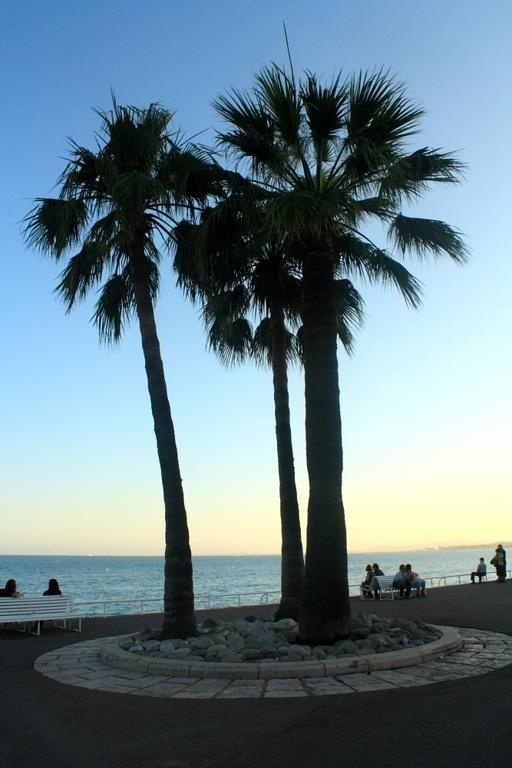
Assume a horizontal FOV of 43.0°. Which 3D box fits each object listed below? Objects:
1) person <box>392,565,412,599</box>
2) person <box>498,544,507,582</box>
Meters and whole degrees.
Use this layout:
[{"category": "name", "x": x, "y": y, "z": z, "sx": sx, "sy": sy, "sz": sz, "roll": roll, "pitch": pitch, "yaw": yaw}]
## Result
[{"category": "person", "x": 4.708, "y": 6.280, "z": 20.855, "sx": 0.643, "sy": 0.962, "sz": 1.250, "roll": -5, "pitch": -11, "yaw": 13}, {"category": "person", "x": 9.508, "y": 6.920, "z": 25.221, "sx": 0.295, "sy": 1.367, "sz": 1.271, "roll": -6, "pitch": -11, "yaw": 22}]
